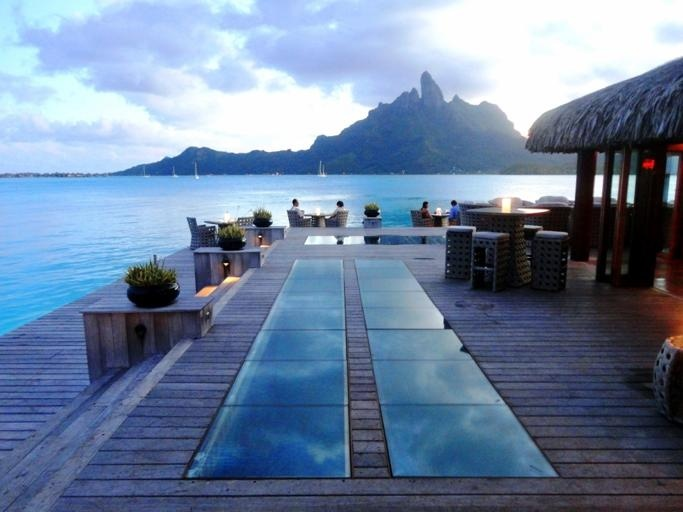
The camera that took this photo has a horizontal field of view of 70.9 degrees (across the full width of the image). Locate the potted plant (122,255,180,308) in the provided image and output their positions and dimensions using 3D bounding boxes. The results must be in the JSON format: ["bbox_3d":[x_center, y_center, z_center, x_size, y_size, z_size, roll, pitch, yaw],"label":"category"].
[{"bbox_3d":[-2.056,0.248,5.211,0.554,0.465,0.530,-9,15,-39],"label":"potted plant"}]

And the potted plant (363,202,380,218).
[{"bbox_3d":[0.924,-1.456,14.840,0.490,0.479,0.497,5,9,38],"label":"potted plant"}]

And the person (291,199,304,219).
[{"bbox_3d":[-1.387,-1.502,14.758,0.360,0.607,0.946,-1,14,4],"label":"person"}]

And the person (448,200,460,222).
[{"bbox_3d":[3.244,-1.268,13.791,0.263,0.588,0.919,2,15,13],"label":"person"}]

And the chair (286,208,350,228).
[{"bbox_3d":[-0.788,-1.232,15.238,1.815,0.742,1.231,-4,15,-11],"label":"chair"}]

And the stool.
[{"bbox_3d":[2.338,-0.014,7.024,1.230,0.574,1.201,-2,5,-13],"label":"stool"}]
